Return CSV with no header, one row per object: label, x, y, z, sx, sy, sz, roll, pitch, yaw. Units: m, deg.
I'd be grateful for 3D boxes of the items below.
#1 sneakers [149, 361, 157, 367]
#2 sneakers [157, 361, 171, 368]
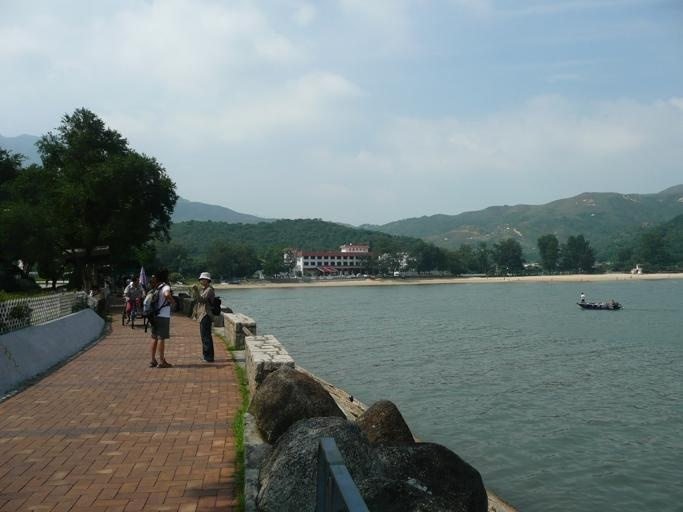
sneakers,-5.415,3.097,17.613,0.224,0.221,0.116,5,4,4
sneakers,-5.107,3.118,17.631,0.443,0.193,0.148,0,1,-3
